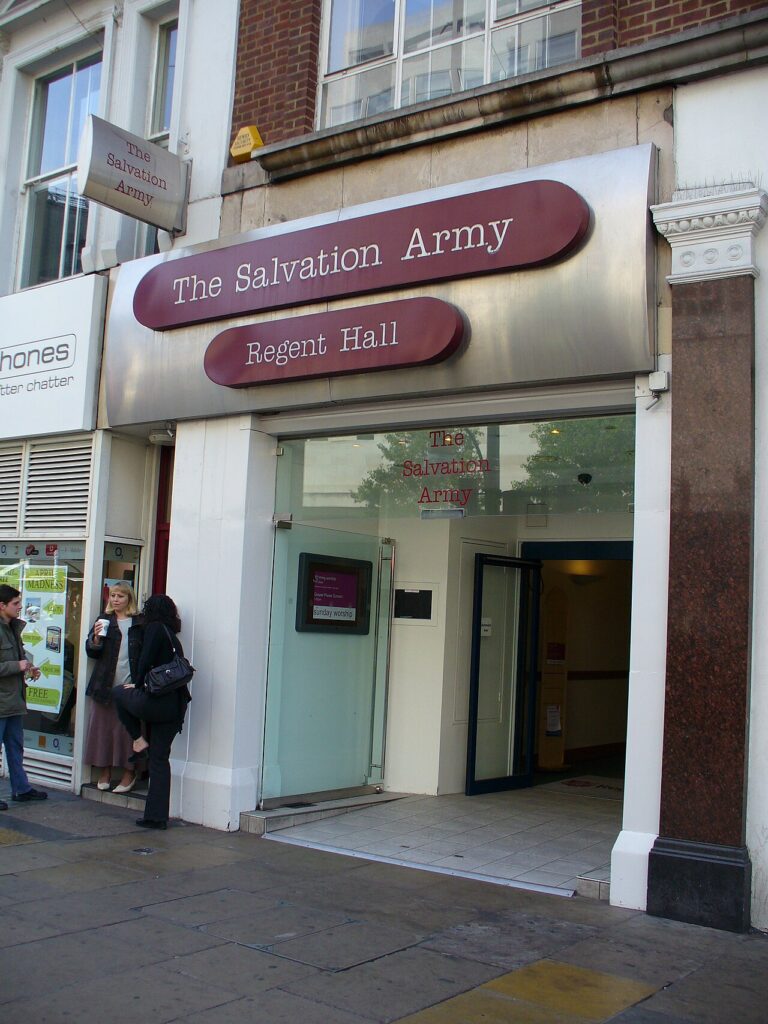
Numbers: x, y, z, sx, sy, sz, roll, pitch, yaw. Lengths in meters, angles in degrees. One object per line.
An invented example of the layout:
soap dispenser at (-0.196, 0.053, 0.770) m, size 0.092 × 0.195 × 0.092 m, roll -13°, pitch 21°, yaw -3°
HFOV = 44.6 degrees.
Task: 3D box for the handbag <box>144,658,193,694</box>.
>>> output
handbag at (-1.523, 1.135, 6.559) m, size 0.203 × 0.195 × 0.086 m, roll -24°, pitch -31°, yaw -15°

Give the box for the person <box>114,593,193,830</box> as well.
person at (-1.700, 1.433, 6.877) m, size 0.525 × 1.638 × 0.920 m, roll 4°, pitch -10°, yaw -15°

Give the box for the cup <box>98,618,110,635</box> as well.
cup at (-2.264, 0.927, 7.591) m, size 0.099 × 0.139 × 0.086 m, roll 7°, pitch -11°, yaw -29°

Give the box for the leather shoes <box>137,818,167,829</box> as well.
leather shoes at (-1.638, 2.193, 6.632) m, size 0.211 × 0.069 × 0.119 m, roll 3°, pitch -9°, yaw -10°
